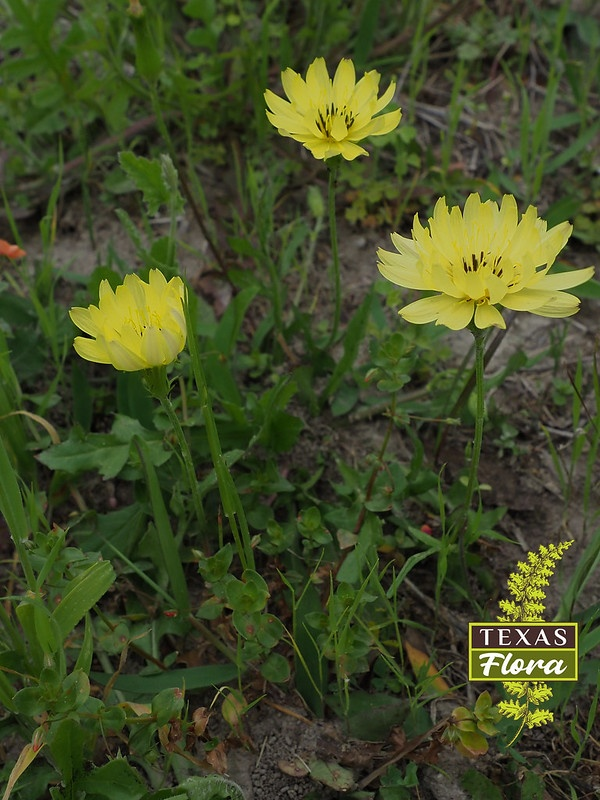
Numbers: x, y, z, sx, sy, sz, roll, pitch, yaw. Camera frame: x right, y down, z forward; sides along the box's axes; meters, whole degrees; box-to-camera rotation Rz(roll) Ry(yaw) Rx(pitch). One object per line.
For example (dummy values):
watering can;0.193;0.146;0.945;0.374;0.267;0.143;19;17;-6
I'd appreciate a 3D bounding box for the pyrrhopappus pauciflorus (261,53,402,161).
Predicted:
pyrrhopappus pauciflorus;0.062;-0.610;1.506;0.253;0.261;0.096;6;63;-31
